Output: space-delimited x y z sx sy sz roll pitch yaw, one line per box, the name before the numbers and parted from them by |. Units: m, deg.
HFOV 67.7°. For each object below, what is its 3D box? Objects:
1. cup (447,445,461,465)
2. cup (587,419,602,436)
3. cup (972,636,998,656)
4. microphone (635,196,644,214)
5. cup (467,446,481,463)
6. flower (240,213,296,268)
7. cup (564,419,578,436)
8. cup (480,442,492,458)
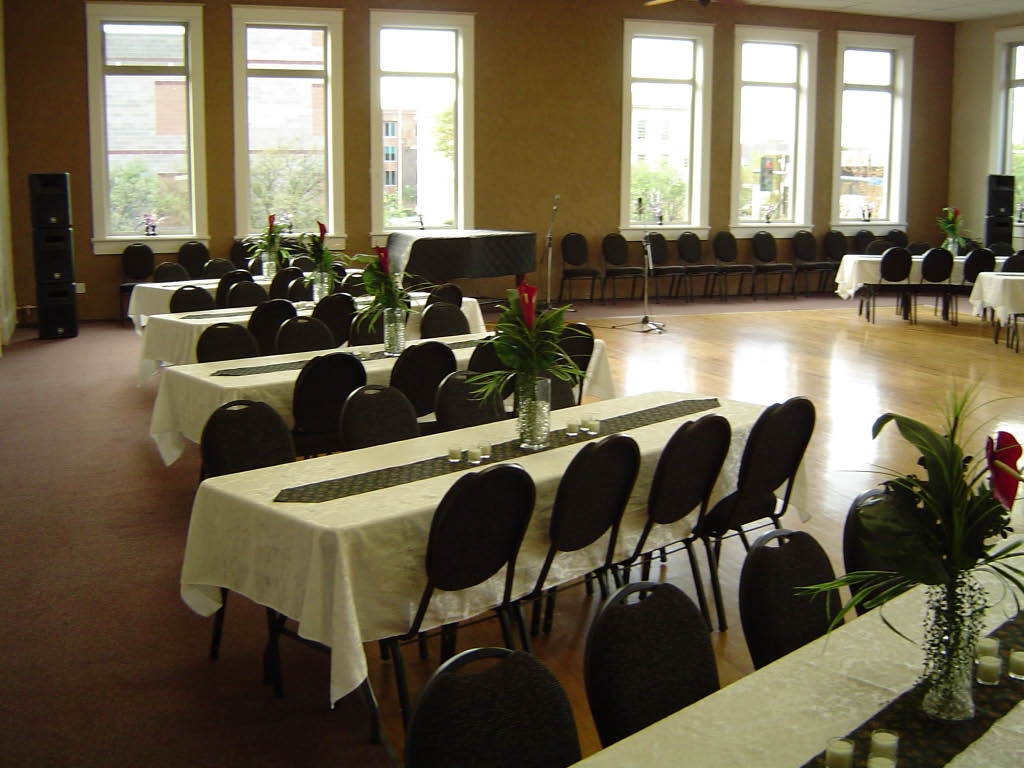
cup | -0.238 0.296 3.166 0.056 0.062 0.057 1 1 0
cup | 0.397 0.207 3.636 0.064 0.063 0.067 -1 -5 0
cup | 1.108 0.618 1.784 0.064 0.042 0.037 -11 15 -40
microphone | 2.190 -3.068 13.107 0.164 0.286 0.063 -8 14 -32
cup | -0.165 0.296 3.244 0.055 0.051 0.056 -1 8 0
flower | -2.531 -1.482 8.051 0.475 0.510 0.458 6 11 38
cup | 0.275 0.203 3.571 0.057 0.054 0.057 -2 12 0
cup | -0.112 0.286 3.261 0.048 0.045 0.048 -1 7 0
